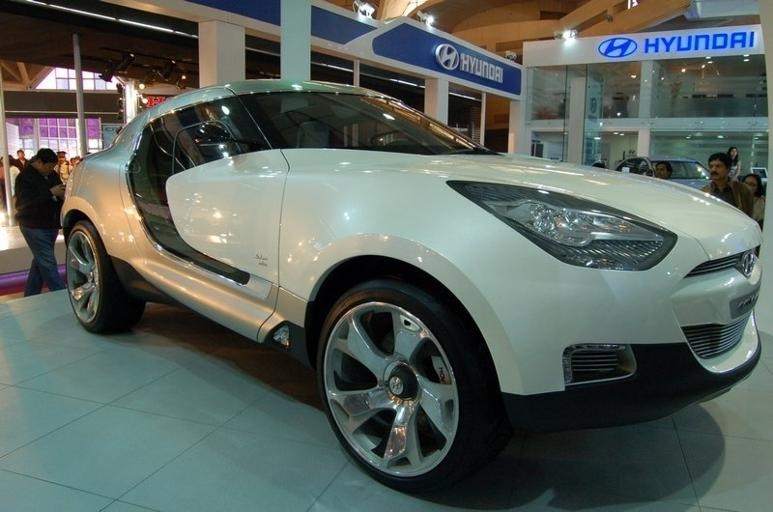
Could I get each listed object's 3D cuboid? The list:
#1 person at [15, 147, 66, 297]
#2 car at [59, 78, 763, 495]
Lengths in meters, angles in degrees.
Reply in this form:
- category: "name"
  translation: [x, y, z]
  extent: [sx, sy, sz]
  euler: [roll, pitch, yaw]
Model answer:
- category: "person"
  translation: [-4.148, -0.367, 5.502]
  extent: [0.580, 1.776, 0.651]
  euler: [-10, 17, -34]
- category: "car"
  translation: [-0.225, -0.011, 2.887]
  extent: [3.809, 1.469, 1.954]
  euler: [10, 12, 36]
